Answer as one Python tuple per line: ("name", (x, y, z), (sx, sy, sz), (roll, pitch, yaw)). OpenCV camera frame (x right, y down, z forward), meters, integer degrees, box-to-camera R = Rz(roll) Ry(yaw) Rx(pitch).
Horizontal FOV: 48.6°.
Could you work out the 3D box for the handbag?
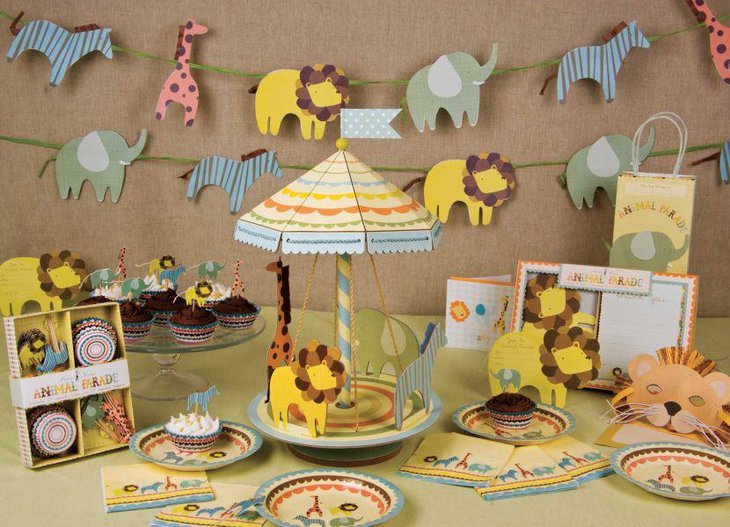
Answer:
("handbag", (0.882, -0.200, 2.494), (0.220, 0.541, 0.162), (5, -11, 22))
